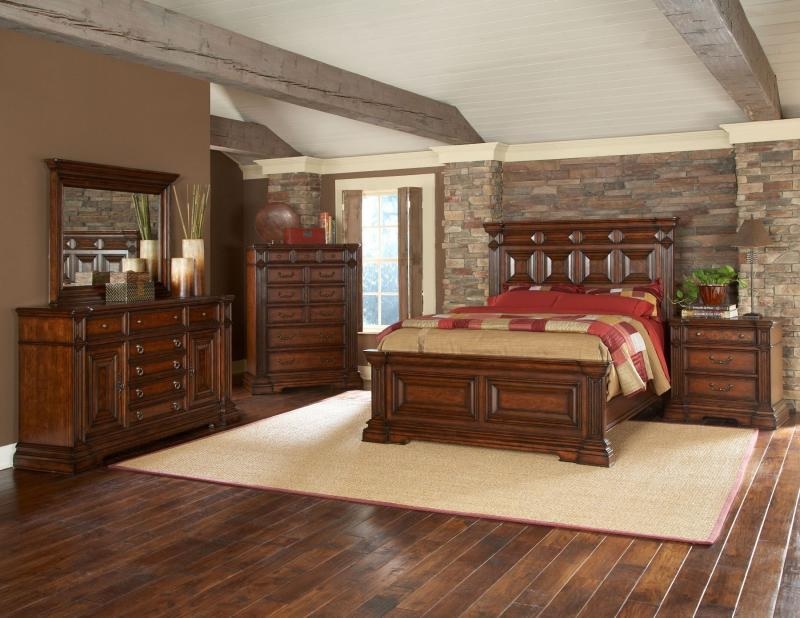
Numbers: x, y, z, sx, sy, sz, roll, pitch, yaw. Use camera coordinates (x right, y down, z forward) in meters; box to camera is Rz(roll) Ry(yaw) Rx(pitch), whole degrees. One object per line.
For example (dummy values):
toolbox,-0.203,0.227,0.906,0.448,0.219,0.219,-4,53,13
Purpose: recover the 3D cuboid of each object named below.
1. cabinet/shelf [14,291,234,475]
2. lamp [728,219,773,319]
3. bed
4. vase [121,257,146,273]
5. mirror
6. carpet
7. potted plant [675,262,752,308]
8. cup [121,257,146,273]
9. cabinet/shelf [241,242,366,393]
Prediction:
cabinet/shelf,-2.154,0.567,4.463,0.626,0.777,1.719,1,3,31
lamp,3.471,-0.449,5.818,0.341,0.954,0.527,1,4,29
bed,1.078,0.060,5.855,2.740,1.653,3.048,1,2,29
vase,-2.282,-0.380,5.049,0.178,0.079,0.140,1,0,-3
mirror,-2.396,-0.618,4.795,0.205,1.075,1.776,3,4,34
carpet,0.502,1.044,4.725,4.027,0.114,2.826,1,3,24
potted plant,3.130,-0.202,5.961,0.563,0.265,0.581,-1,-7,33
cup,-2.284,-0.381,5.046,0.165,0.080,0.149,0,0,29
cabinet/shelf,-1.148,0.086,7.089,1.347,1.758,0.396,-2,4,-9
